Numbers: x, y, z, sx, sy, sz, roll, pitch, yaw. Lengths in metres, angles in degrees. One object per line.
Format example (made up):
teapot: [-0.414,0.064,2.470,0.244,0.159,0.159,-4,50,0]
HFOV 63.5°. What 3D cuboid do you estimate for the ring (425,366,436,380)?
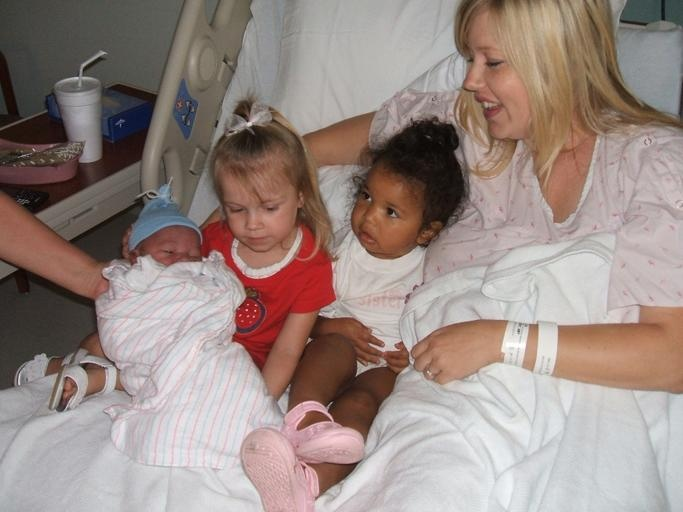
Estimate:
ring: [0.240,0.319,1.508,0.025,0.034,0.014,17,63,26]

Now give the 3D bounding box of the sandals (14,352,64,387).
sandals: [-0.930,0.342,1.691,0.063,0.075,0.153,27,33,8]

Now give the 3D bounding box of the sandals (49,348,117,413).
sandals: [-0.716,0.338,1.500,0.056,0.102,0.174,8,17,18]
